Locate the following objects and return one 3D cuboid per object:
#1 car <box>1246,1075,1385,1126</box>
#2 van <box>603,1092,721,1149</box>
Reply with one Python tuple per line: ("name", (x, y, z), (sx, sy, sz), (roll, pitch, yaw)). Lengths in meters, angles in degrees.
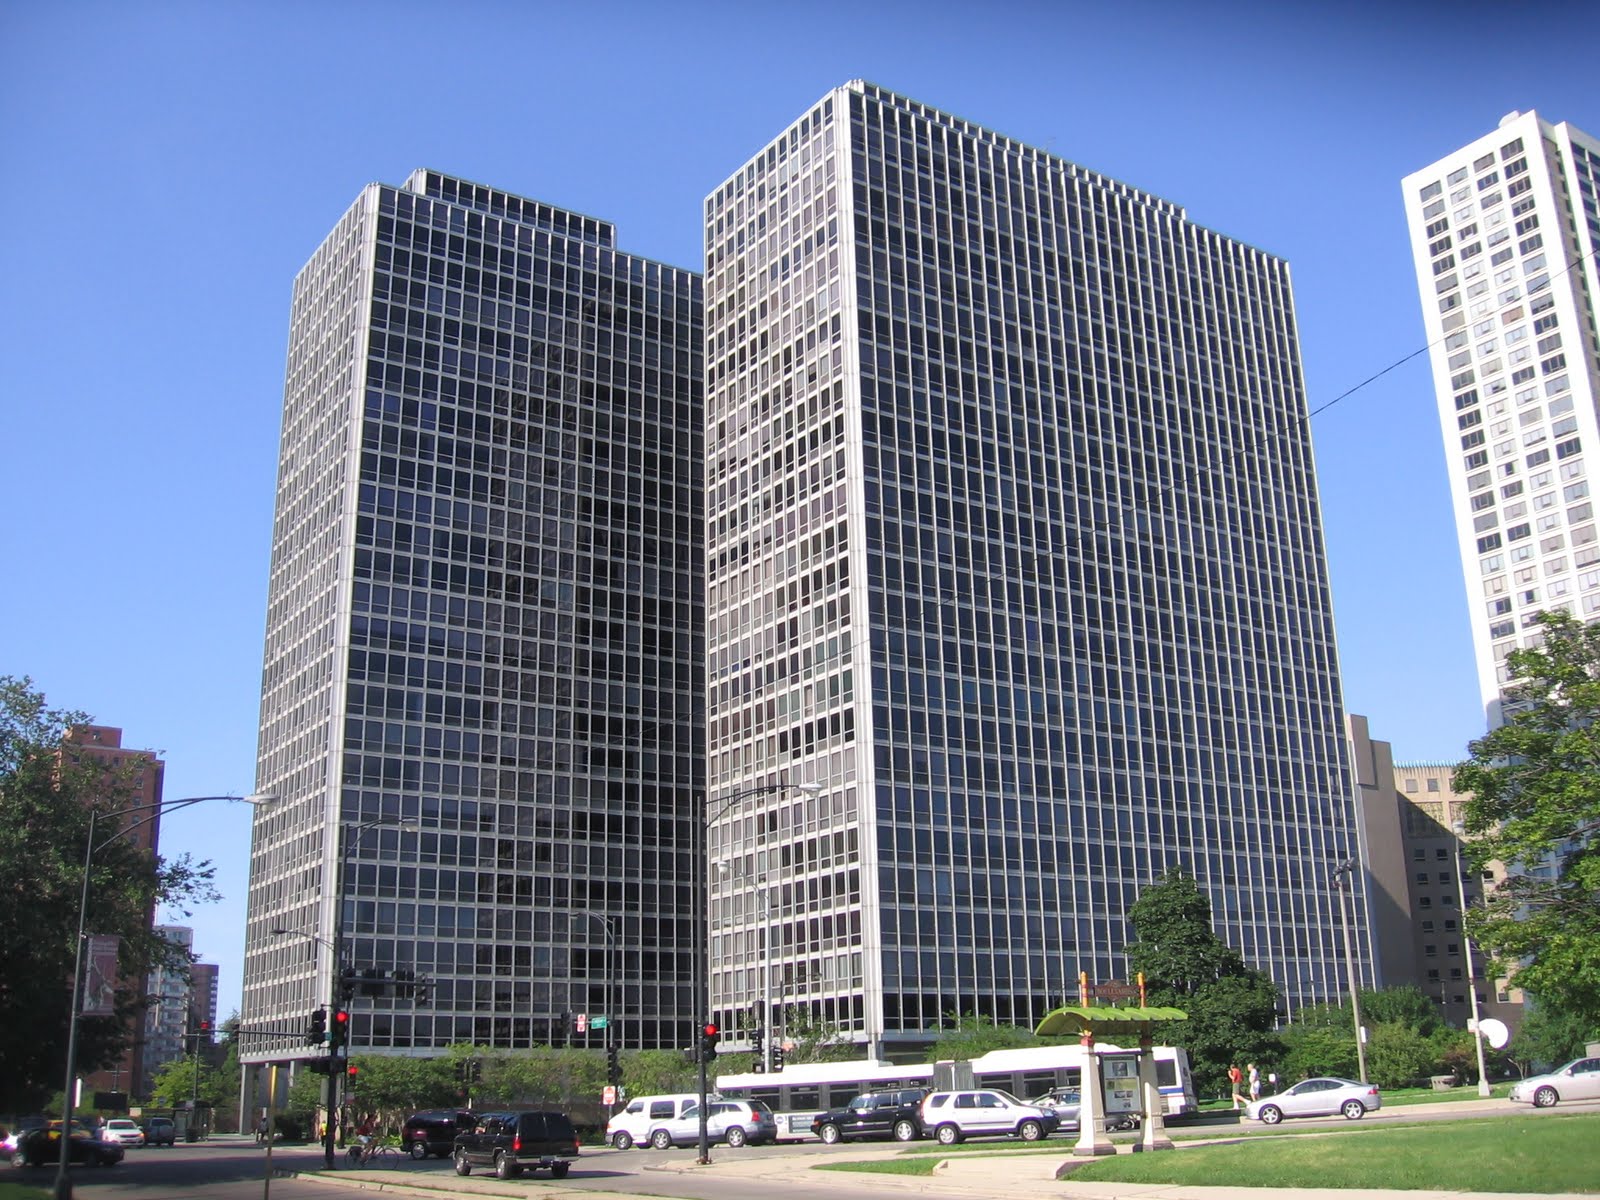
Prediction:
("car", (25.602, 25.048, 82.175), (6.020, 1.910, 2.500), (-2, -19, 15))
("van", (-8.198, 28.789, 90.214), (5.023, 2.392, 2.939), (-3, -24, 9))
